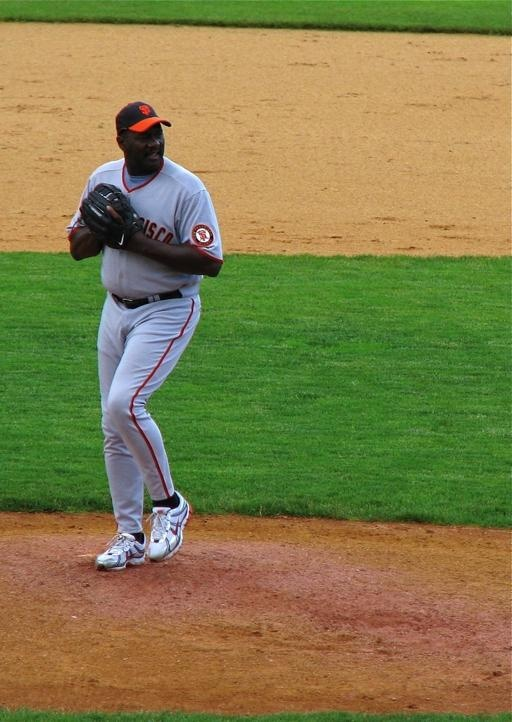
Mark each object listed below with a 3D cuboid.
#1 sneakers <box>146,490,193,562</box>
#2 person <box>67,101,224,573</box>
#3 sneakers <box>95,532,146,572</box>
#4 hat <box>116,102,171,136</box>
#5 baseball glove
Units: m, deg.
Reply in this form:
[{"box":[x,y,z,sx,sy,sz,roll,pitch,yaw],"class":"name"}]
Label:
[{"box":[-0.472,0.925,7.830,0.178,0.427,0.198,1,-36,20],"class":"sneakers"},{"box":[-0.641,-0.110,7.692,0.830,2.644,0.598,6,10,12],"class":"person"},{"box":[-0.746,1.073,7.821,0.131,0.167,0.361,2,2,29],"class":"sneakers"},{"box":[-0.625,-1.328,7.551,0.261,0.144,0.175,-7,7,44],"class":"hat"},{"box":[-0.770,-0.777,7.458,0.182,0.270,0.368,-34,37,-11],"class":"baseball glove"}]
